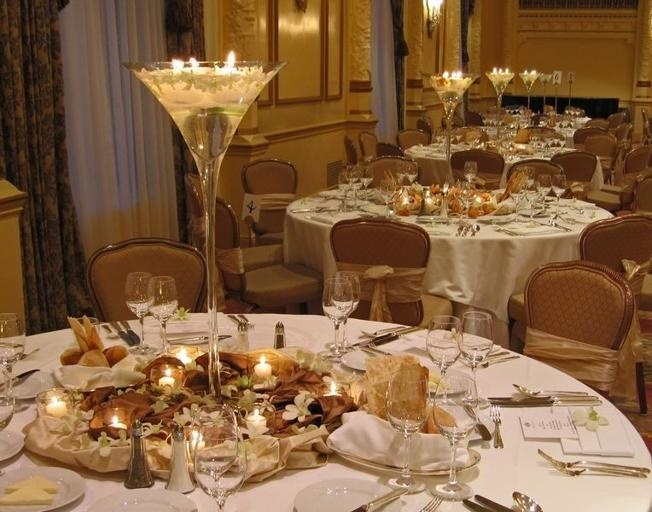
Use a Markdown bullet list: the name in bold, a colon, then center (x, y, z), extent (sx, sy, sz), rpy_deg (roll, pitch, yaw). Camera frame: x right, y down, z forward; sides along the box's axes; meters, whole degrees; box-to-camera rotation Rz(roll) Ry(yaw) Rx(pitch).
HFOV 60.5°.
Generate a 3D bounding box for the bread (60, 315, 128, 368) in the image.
- **bread**: center (-0.705, 0.260, 1.709), extent (0.167, 0.195, 0.146), rpy_deg (-14, 1, -20)

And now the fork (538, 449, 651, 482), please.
- **fork**: center (0.605, 0.476, 1.261), extent (0.238, 0.017, 0.083), rpy_deg (4, 13, 19)
